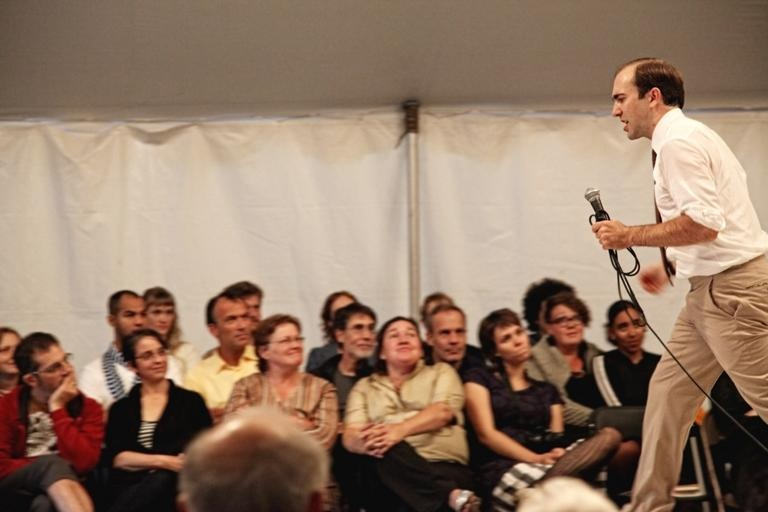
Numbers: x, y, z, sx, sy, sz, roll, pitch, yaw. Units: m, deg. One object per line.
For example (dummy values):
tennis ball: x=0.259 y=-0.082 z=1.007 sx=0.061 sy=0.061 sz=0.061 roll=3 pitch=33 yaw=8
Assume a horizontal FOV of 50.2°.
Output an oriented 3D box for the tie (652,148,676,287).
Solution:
tie: x=1.614 y=-0.232 z=4.759 sx=0.099 sy=0.932 sz=0.122 roll=-2 pitch=22 yaw=7

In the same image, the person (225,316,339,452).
person: x=-0.666 y=0.903 z=5.379 sx=0.806 sy=1.017 sz=0.562 roll=1 pitch=-2 yaw=-4
